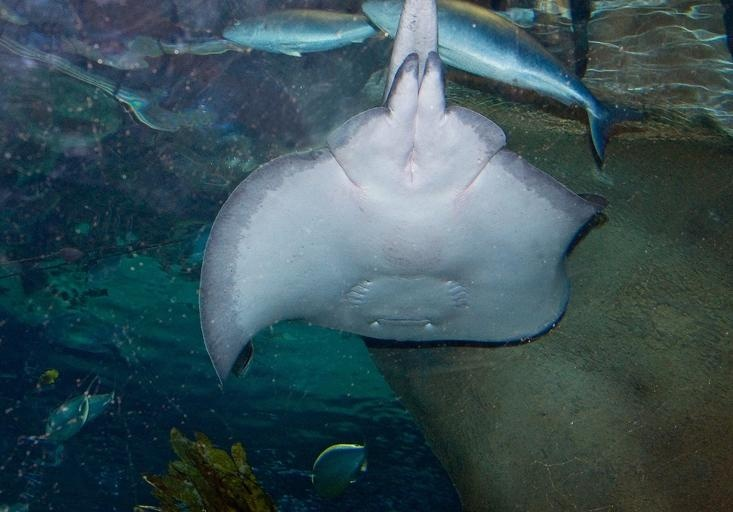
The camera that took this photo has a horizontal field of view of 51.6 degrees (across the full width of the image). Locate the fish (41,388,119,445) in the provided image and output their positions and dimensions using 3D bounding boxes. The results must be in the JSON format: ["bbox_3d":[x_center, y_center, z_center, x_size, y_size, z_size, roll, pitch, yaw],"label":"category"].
[{"bbox_3d":[-3.195,1.723,8.549,0.914,0.217,0.395,-33,92,-14],"label":"fish"}]

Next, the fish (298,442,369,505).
[{"bbox_3d":[-0.286,2.365,8.430,0.612,0.163,0.525,-7,66,5],"label":"fish"}]
